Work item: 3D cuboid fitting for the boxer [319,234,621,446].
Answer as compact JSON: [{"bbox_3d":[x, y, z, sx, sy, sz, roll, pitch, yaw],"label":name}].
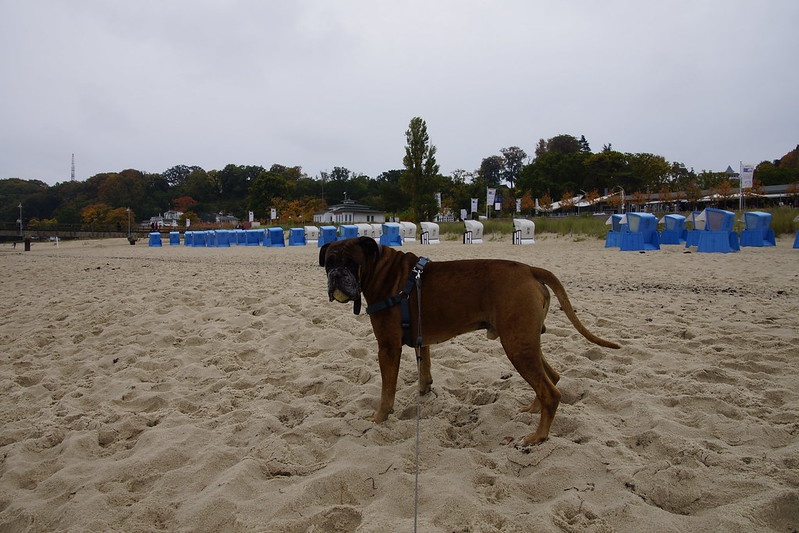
[{"bbox_3d":[0.592,0.717,6.957,2.840,2.013,0.928,4,9,19],"label":"boxer"}]
